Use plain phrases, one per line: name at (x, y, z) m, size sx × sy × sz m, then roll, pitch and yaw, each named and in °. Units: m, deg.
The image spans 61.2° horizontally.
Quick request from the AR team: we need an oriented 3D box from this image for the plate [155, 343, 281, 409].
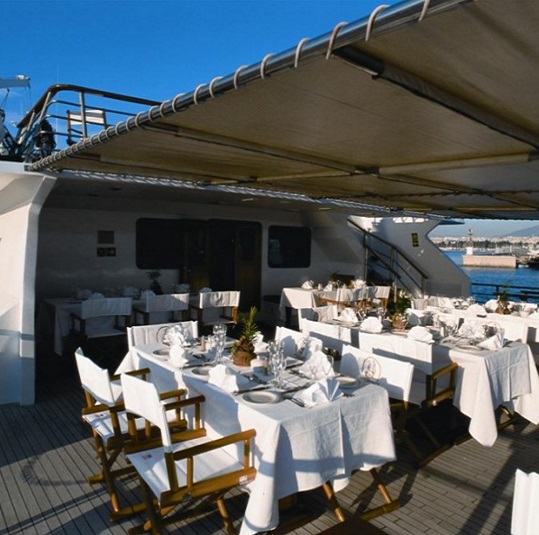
plate at (-0.341, 0.699, 3.155) m, size 0.273 × 0.148 × 1.063 m, roll -7°, pitch 4°, yaw -29°
